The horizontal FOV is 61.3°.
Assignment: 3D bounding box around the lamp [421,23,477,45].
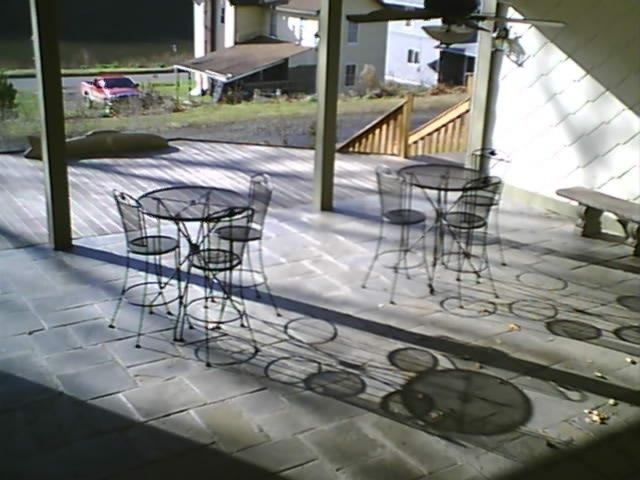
[{"bbox_3d":[1.006,-1.600,4.231,0.403,0.129,0.336,4,15,6],"label":"lamp"}]
